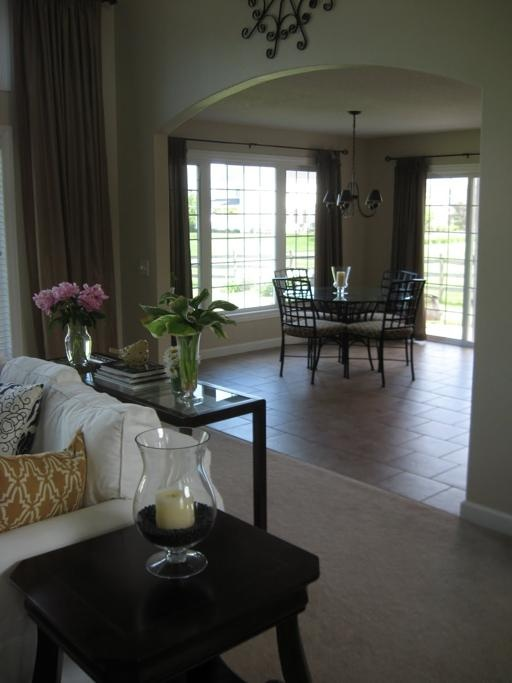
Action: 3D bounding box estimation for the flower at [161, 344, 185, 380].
[{"bbox_3d":[-0.393,0.097,2.413,0.125,0.138,0.131,-3,5,21],"label":"flower"}]

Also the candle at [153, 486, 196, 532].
[{"bbox_3d":[-0.159,0.326,0.999,0.078,0.059,0.077,5,-11,-43],"label":"candle"}]

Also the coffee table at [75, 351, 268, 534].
[{"bbox_3d":[-0.322,0.604,2.298,0.726,0.626,0.279,-1,-9,-7],"label":"coffee table"}]

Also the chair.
[{"bbox_3d":[1.087,-0.208,6.175,1.629,1.101,1.864,1,7,9],"label":"chair"}]

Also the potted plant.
[{"bbox_3d":[-0.295,0.038,2.265,0.317,0.430,0.365,1,1,31],"label":"potted plant"}]
